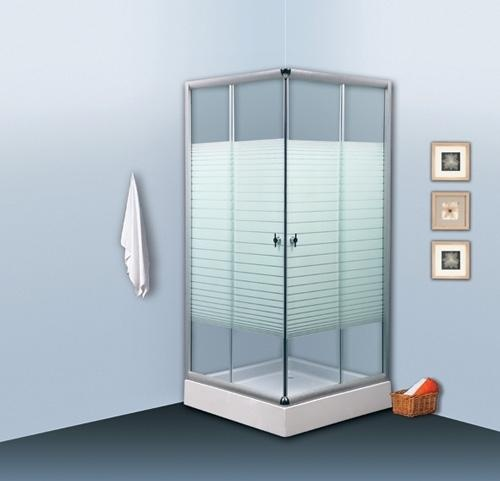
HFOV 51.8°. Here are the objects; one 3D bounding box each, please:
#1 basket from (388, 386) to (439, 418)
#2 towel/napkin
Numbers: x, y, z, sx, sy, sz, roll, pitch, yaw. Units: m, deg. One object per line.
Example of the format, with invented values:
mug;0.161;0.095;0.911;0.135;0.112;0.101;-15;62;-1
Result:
basket;1.272;1.213;3.924;0.273;0.128;0.198;3;-6;-37
towel/napkin;-0.846;-0.022;3.858;0.267;0.948;0.185;-2;2;-35
